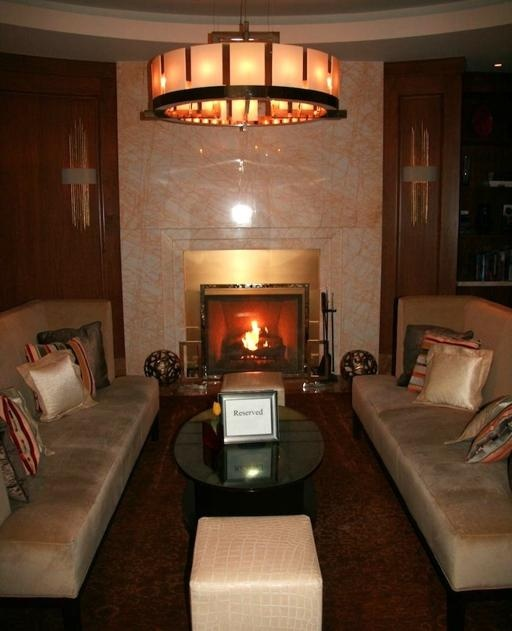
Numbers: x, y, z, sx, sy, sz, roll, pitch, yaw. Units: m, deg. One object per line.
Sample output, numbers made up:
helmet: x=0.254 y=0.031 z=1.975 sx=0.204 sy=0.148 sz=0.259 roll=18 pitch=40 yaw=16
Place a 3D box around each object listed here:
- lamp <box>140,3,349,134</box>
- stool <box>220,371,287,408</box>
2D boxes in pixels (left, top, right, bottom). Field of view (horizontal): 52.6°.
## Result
lamp: x=-0.050 y=-1.015 z=2.055 sx=0.707 sy=0.503 sz=0.835 roll=-1 pitch=8 yaw=2
stool: x=-0.028 y=0.446 z=3.202 sx=0.375 sy=0.135 sz=0.535 roll=-1 pitch=8 yaw=-2
